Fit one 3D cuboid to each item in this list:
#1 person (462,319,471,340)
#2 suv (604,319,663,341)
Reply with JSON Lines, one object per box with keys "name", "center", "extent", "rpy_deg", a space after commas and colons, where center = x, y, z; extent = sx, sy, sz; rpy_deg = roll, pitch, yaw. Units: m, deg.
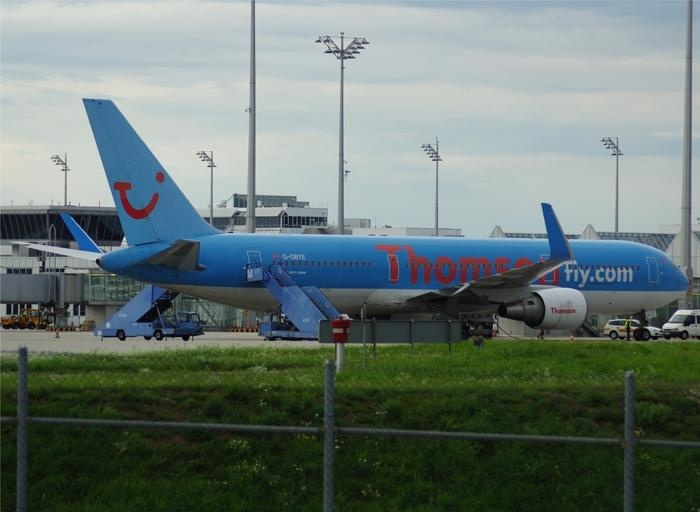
{"name": "person", "center": [4.521, 2.842, 43.998], "extent": [0.302, 0.725, 0.466], "rpy_deg": [-1, -1, 10]}
{"name": "suv", "center": [13.717, 3.669, 54.821], "extent": [2.838, 0.881, 1.271], "rpy_deg": [-1, 0, 2]}
